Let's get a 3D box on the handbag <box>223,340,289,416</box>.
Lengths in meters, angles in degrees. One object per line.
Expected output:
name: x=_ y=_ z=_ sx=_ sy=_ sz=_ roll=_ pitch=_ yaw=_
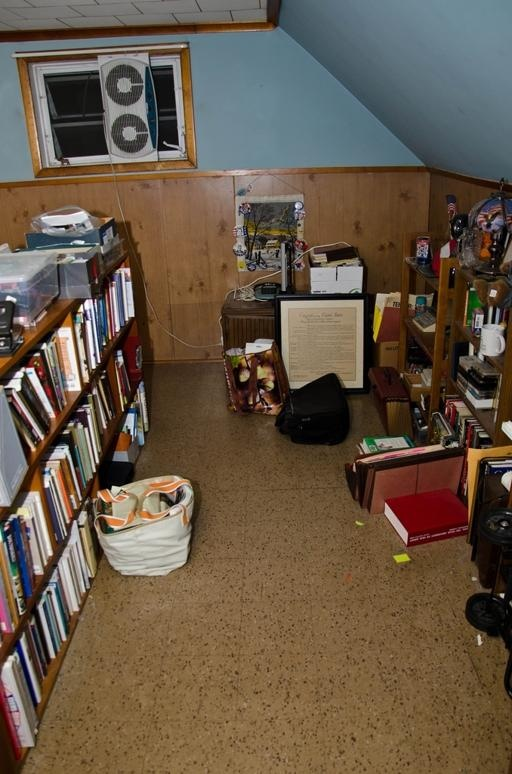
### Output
handbag: x=0.041 y=-0.106 z=3.512 sx=0.467 sy=0.512 sz=0.360 roll=0 pitch=26 yaw=17

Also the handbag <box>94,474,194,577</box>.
handbag: x=-0.414 y=0.511 z=2.196 sx=0.386 sy=0.383 sz=0.322 roll=-5 pitch=42 yaw=-4

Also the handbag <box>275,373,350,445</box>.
handbag: x=0.333 y=0.143 z=3.204 sx=0.443 sy=0.248 sz=0.483 roll=-4 pitch=22 yaw=-1

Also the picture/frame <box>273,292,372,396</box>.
picture/frame: x=0.454 y=-0.303 z=3.618 sx=0.648 sy=0.796 sz=0.062 roll=-1 pitch=17 yaw=2

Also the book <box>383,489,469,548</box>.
book: x=0.738 y=0.553 z=2.262 sx=0.254 sy=0.064 sz=0.193 roll=-9 pitch=29 yaw=-20

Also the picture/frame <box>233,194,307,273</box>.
picture/frame: x=0.103 y=-1.198 z=4.044 sx=0.571 sy=0.627 sz=0.053 roll=-1 pitch=23 yaw=-3

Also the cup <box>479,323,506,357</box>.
cup: x=0.883 y=-0.176 z=1.999 sx=0.072 sy=0.118 sz=0.087 roll=-6 pitch=21 yaw=-8

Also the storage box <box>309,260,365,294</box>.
storage box: x=0.561 y=-0.746 z=3.744 sx=0.256 sy=0.172 sz=0.268 roll=0 pitch=21 yaw=4

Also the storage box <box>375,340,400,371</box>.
storage box: x=0.896 y=-0.221 z=3.629 sx=0.137 sy=0.203 sz=0.203 roll=0 pitch=11 yaw=4
